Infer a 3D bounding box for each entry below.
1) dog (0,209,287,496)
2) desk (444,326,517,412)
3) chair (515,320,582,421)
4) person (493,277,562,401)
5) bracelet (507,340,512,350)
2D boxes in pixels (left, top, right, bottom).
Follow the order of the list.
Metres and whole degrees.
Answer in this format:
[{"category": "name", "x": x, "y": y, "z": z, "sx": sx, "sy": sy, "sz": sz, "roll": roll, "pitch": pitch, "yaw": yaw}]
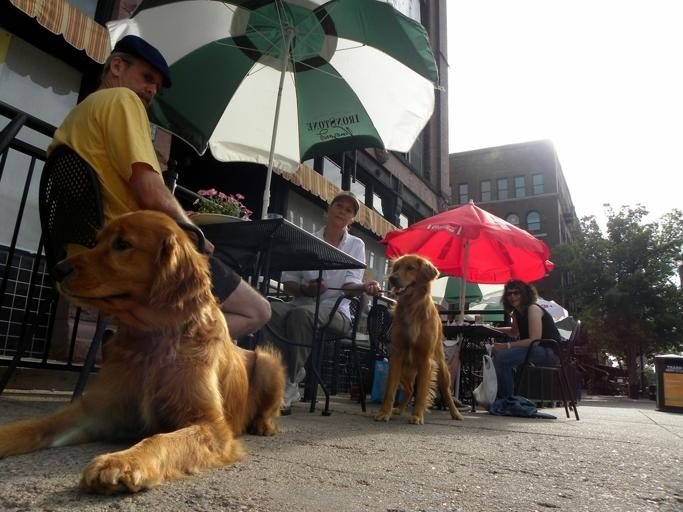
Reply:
[{"category": "dog", "x": -0.886, "y": 0.686, "z": 2.864, "sx": 0.792, "sy": 1.009, "sz": 1.456, "roll": -7, "pitch": -29, "yaw": 15}, {"category": "desk", "x": 2.277, "y": 1.799, "z": 7.913, "sx": 1.119, "sy": 1.154, "sz": 0.952, "roll": 12, "pitch": -13, "yaw": -29}, {"category": "chair", "x": 2.552, "y": 1.421, "z": 6.512, "sx": 0.587, "sy": 1.098, "sz": 0.705, "roll": -5, "pitch": -6, "yaw": 28}, {"category": "person", "x": 2.467, "y": 1.087, "z": 6.898, "sx": 0.851, "sy": 1.639, "sz": 1.406, "roll": 0, "pitch": -10, "yaw": 17}, {"category": "bracelet", "x": 2.235, "y": 1.169, "z": 6.780, "sx": 0.072, "sy": 0.078, "sz": 0.077, "roll": 9, "pitch": 12, "yaw": -9}]
